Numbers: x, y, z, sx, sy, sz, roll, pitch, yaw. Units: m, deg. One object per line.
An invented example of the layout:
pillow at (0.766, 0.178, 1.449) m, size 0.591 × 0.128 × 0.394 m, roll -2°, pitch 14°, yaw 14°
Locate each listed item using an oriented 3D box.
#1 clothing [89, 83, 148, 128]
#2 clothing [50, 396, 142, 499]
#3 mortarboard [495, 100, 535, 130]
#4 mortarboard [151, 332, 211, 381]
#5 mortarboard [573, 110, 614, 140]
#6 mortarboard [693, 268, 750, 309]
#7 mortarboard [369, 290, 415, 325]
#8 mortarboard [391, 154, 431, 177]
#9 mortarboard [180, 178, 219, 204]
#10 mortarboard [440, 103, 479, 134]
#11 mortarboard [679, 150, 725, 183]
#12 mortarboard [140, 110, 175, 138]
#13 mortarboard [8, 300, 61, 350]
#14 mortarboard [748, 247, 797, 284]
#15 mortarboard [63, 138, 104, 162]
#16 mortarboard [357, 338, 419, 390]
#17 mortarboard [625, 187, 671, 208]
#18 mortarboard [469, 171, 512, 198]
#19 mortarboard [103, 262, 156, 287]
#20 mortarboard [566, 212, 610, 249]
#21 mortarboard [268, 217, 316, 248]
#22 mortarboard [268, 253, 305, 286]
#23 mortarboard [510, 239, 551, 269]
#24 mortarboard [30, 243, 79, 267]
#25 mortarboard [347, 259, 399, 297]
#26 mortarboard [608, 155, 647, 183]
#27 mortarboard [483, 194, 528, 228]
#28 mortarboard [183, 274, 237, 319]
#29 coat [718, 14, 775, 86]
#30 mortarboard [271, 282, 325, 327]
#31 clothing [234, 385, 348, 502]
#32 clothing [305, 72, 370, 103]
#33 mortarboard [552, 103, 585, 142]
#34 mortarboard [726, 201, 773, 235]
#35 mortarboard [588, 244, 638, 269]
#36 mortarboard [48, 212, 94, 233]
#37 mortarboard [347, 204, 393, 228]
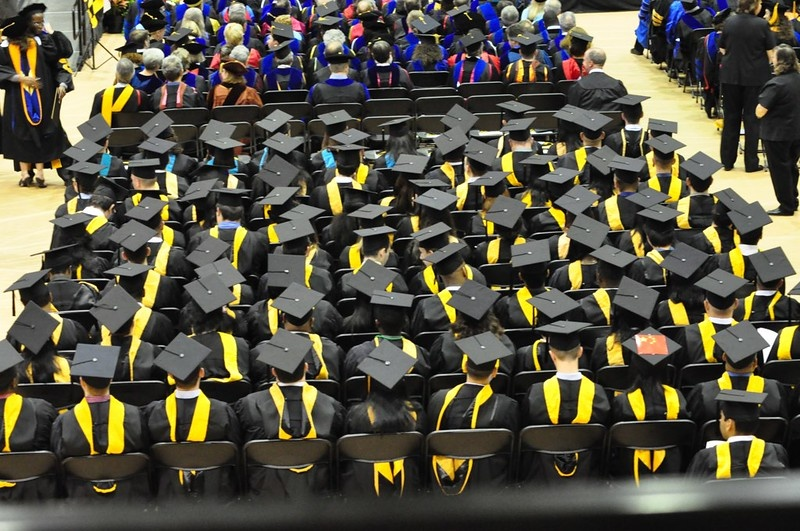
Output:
clothing at (-3.807, -2.168, 13.206) m, size 0.885 × 0.630 × 0.485 m, roll 2°, pitch 5°, yaw 3°
clothing at (-2.325, 1.410, 7.391) m, size 0.766 × 0.895 × 0.523 m, roll -1°, pitch 10°, yaw -4°
mortarboard at (1.433, -2.041, 12.452) m, size 0.478 × 0.436 × 0.409 m, roll -11°, pitch 38°, yaw -11°
mortarboard at (-1.725, 0.716, 7.668) m, size 0.336 × 0.227 × 0.345 m, roll 30°, pitch 59°, yaw 24°
mortarboard at (2.348, -1.709, 11.770) m, size 0.412 × 0.203 × 0.409 m, roll 25°, pitch 46°, yaw 26°
mortarboard at (2.856, 0.166, 8.541) m, size 0.372 × 0.230 × 0.369 m, roll -34°, pitch 50°, yaw -23°
mortarboard at (-0.089, 0.333, 8.364) m, size 0.361 × 0.282 × 0.374 m, roll -1°, pitch -9°, yaw 2°
mortarboard at (0.096, -1.153, 11.016) m, size 0.309 × 0.089 × 0.296 m, roll 7°, pitch 36°, yaw 15°
mortarboard at (-2.223, -0.867, 10.747) m, size 0.378 × 0.310 × 0.434 m, roll 0°, pitch -9°, yaw -7°
mortarboard at (0.738, -1.900, 12.335) m, size 0.449 × 0.424 × 0.121 m, roll 37°, pitch -10°, yaw 17°
mortarboard at (3.269, -1.090, 10.547) m, size 0.370 × 0.109 × 0.383 m, roll 32°, pitch 56°, yaw 31°
mortarboard at (-3.008, -1.743, 11.962) m, size 0.353 × 0.472 × 0.488 m, roll 2°, pitch -9°, yaw -20°
mortarboard at (-3.122, 0.517, 8.212) m, size 0.397 × 0.446 × 0.302 m, roll 2°, pitch -10°, yaw -22°
mortarboard at (3.428, -0.008, 8.915) m, size 0.358 × 0.367 × 0.338 m, roll -4°, pitch -9°, yaw 20°
mortarboard at (-3.778, -1.366, 11.504) m, size 0.447 × 0.126 × 0.299 m, roll 26°, pitch 43°, yaw 30°
mortarboard at (-0.093, 0.771, 7.693) m, size 0.383 × 0.410 × 0.426 m, roll -4°, pitch -9°, yaw 18°
mortarboard at (2.591, -0.708, 10.046) m, size 0.272 × 0.084 × 0.280 m, roll -18°, pitch 31°, yaw -20°
mortarboard at (1.006, -0.901, 10.607) m, size 0.339 × 0.203 × 0.323 m, roll -18°, pitch 26°, yaw 7°
mortarboard at (-2.533, 0.053, 8.992) m, size 0.380 × 0.219 × 0.339 m, roll 1°, pitch -9°, yaw -16°
mortarboard at (1.853, -0.339, 9.528) m, size 0.345 × 0.111 × 0.328 m, roll 22°, pitch 58°, yaw 19°
mortarboard at (-1.061, -0.342, 9.561) m, size 0.375 × 0.297 × 0.307 m, roll -1°, pitch -9°, yaw -2°
mortarboard at (-1.073, 0.031, 9.027) m, size 0.351 × 0.338 × 0.266 m, roll 0°, pitch -9°, yaw -6°
mortarboard at (1.218, -0.117, 9.024) m, size 0.287 × 0.069 × 0.270 m, roll -7°, pitch 35°, yaw 5°
mortarboard at (-3.298, -0.109, 9.275) m, size 0.333 × 0.152 × 0.318 m, roll -15°, pitch 6°, yaw -17°
mortarboard at (-0.281, 0.099, 8.846) m, size 0.382 × 0.375 × 0.451 m, roll -3°, pitch -9°, yaw 12°
mortarboard at (2.528, -1.105, 10.789) m, size 0.343 × 0.110 × 0.345 m, roll 14°, pitch 30°, yaw 21°
mortarboard at (1.072, -0.553, 9.816) m, size 0.353 × 0.338 × 0.113 m, roll 24°, pitch -21°, yaw 21°
mortarboard at (-1.656, 0.235, 8.371) m, size 0.301 × 0.151 × 0.428 m, roll -24°, pitch 50°, yaw -23°
coat at (4.714, -2.948, 13.196) m, size 0.813 × 0.907 × 0.546 m, roll 7°, pitch 23°, yaw 26°
mortarboard at (-0.886, 0.301, 8.323) m, size 0.343 × 0.200 × 0.339 m, roll 27°, pitch 51°, yaw 24°
clothing at (-0.866, 1.325, 7.658) m, size 0.757 × 1.152 × 0.846 m, roll -1°, pitch 32°, yaw -5°
clothing at (-0.838, -2.554, 13.050) m, size 0.824 × 0.464 × 0.402 m, roll 1°, pitch 28°, yaw 0°
mortarboard at (2.096, -1.802, 12.034) m, size 0.458 × 0.413 × 0.412 m, roll 9°, pitch 34°, yaw 11°
mortarboard at (3.475, -0.478, 9.566) m, size 0.408 × 0.383 × 0.263 m, roll 2°, pitch -9°, yaw -20°
mortarboard at (1.993, -0.094, 9.053) m, size 0.397 × 0.251 × 0.257 m, roll -3°, pitch -9°, yaw 11°
mortarboard at (-3.394, -0.459, 9.968) m, size 0.369 × 0.254 × 0.456 m, roll 1°, pitch -9°, yaw -15°
mortarboard at (-0.341, -0.535, 9.895) m, size 0.287 × 0.245 × 0.332 m, roll 16°, pitch 27°, yaw 42°
